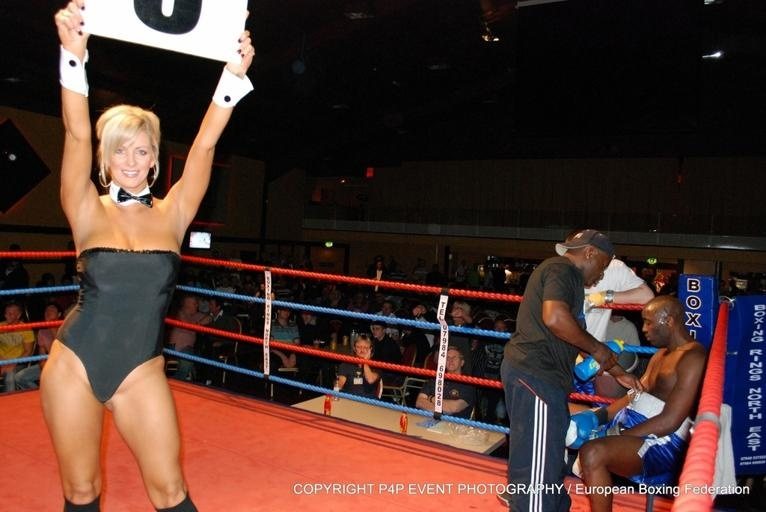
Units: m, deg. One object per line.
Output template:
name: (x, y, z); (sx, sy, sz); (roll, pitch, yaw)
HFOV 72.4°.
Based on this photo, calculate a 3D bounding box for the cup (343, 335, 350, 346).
cup: (-0.562, 1.234, 7.653); (0.112, 0.125, 0.112); (1, -3, 0)

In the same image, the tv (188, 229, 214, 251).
tv: (-5.576, -0.534, 16.048); (0.746, 0.624, 0.094); (3, -8, -31)

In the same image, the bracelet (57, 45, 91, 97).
bracelet: (-1.521, -0.921, 2.603); (0.129, 0.233, 0.091); (-6, 11, -43)

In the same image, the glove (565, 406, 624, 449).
glove: (1.301, 1.057, 3.316); (0.338, 0.143, 0.259); (-13, 14, -9)

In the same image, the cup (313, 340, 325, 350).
cup: (-0.894, 1.252, 7.433); (0.123, 0.128, 0.128); (1, -6, 0)

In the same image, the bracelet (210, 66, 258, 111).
bracelet: (-0.817, -0.900, 2.897); (0.245, 0.232, 0.198); (12, 15, -38)

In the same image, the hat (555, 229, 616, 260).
hat: (1.272, -0.082, 3.314); (0.300, 0.155, 0.193); (14, -5, 13)
